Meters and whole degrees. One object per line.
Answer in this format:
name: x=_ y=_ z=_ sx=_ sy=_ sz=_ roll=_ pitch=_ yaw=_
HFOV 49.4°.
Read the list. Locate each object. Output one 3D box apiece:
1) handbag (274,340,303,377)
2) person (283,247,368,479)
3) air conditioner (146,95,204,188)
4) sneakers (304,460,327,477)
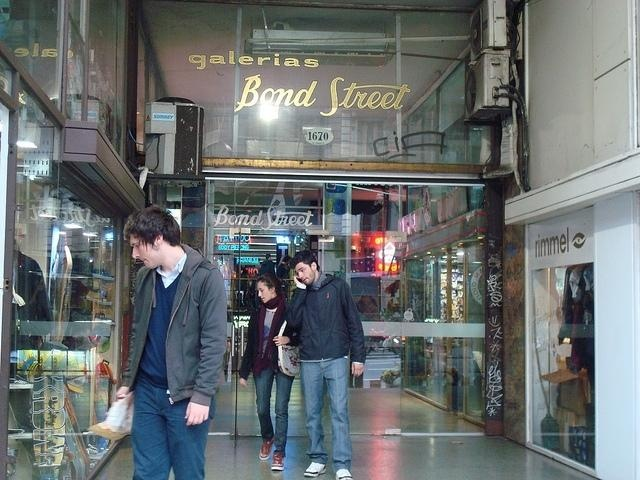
handbag: x=-0.286 y=1.206 z=7.038 sx=0.241 sy=0.346 sz=0.137 roll=17 pitch=-31 yaw=-33
person: x=0.095 y=1.198 z=6.694 sx=0.798 sy=1.768 sz=0.440 roll=0 pitch=0 yaw=42
air conditioner: x=-1.666 y=-1.177 z=8.592 sx=0.746 sy=1.128 sz=0.794 roll=2 pitch=-1 yaw=-4
sneakers: x=-0.040 y=2.210 z=6.662 sx=0.088 sy=0.112 sz=0.264 roll=-4 pitch=-16 yaw=21
